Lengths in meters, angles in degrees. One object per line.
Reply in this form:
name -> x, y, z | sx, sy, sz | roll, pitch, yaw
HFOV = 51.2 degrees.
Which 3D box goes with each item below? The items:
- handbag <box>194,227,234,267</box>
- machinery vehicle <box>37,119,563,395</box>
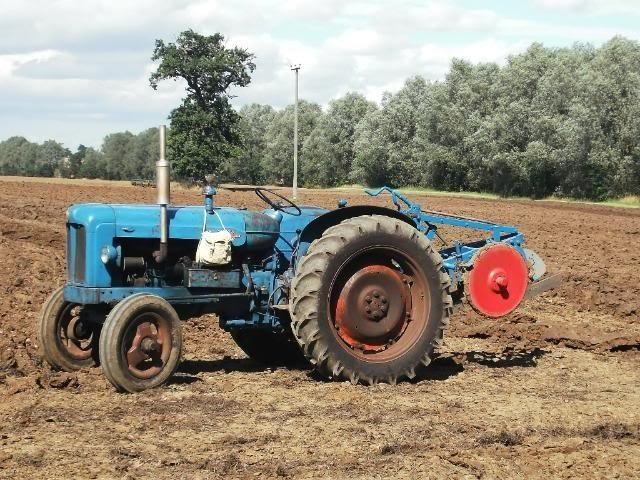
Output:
handbag -> -1.197, 0.063, 7.617 | 0.444, 0.460, 0.275 | 1, 24, -17
machinery vehicle -> -0.387, 0.313, 8.391 | 5.360, 2.568, 2.697 | 3, -1, -19
